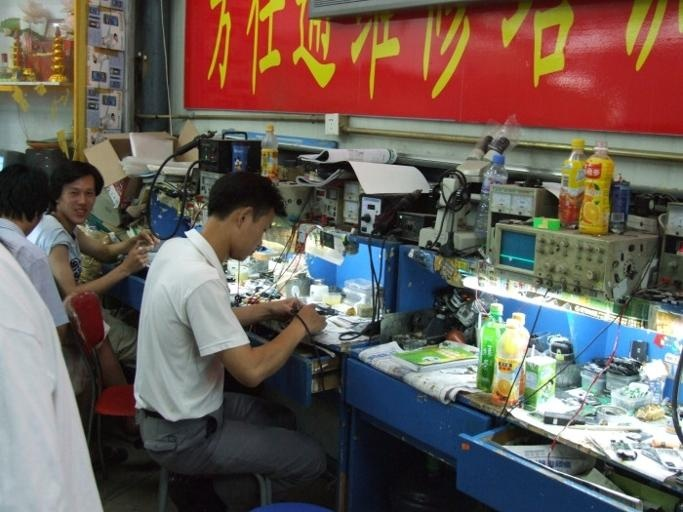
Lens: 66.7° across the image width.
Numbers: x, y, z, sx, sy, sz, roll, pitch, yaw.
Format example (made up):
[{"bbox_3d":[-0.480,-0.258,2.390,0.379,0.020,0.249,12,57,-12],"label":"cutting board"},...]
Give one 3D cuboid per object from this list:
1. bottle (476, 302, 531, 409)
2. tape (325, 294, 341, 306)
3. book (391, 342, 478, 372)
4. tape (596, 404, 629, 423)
[{"bbox_3d":[0.556,0.336,1.802,0.170,0.311,0.159,2,10,0],"label":"bottle"},{"bbox_3d":[-0.042,0.229,2.731,0.060,0.044,0.059,-9,16,-44],"label":"tape"},{"bbox_3d":[0.393,0.407,2.094,0.149,0.021,0.133,-7,10,-33],"label":"book"},{"bbox_3d":[0.888,0.513,1.717,0.054,0.023,0.058,-1,3,0],"label":"tape"}]
